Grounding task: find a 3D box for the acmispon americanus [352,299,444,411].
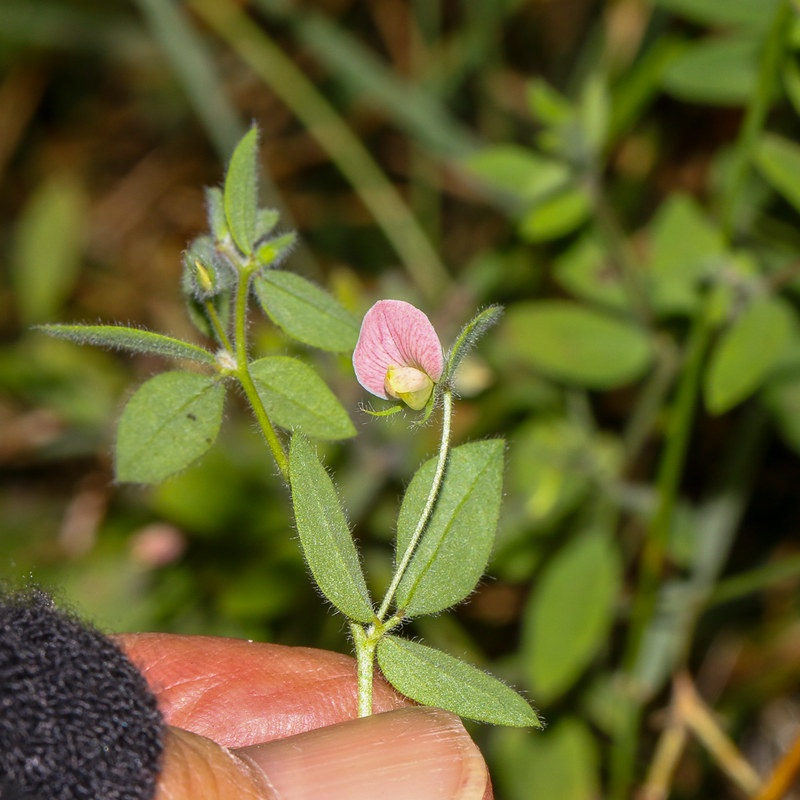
[{"bbox_3d":[0.001,-0.063,1.236,0.134,0.122,0.117,29,71,3],"label":"acmispon americanus"}]
